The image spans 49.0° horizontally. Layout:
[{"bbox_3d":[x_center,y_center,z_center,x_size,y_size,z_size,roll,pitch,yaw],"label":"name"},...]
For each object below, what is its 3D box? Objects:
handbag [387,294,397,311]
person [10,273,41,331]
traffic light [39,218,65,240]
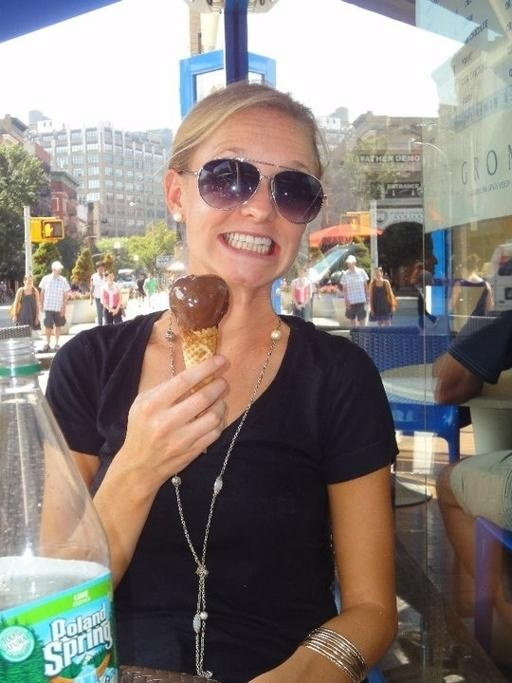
[{"bbox_3d":[1.368,-0.408,5.663,0.093,0.130,0.064,-7,-4,43],"label":"handbag"},{"bbox_3d":[-5.250,-0.877,12.752,0.588,1.258,1.596,-2,2,-22],"label":"person"},{"bbox_3d":[-5.104,-2.803,13.902,0.537,0.746,0.397,-1,9,-21],"label":"traffic light"}]
